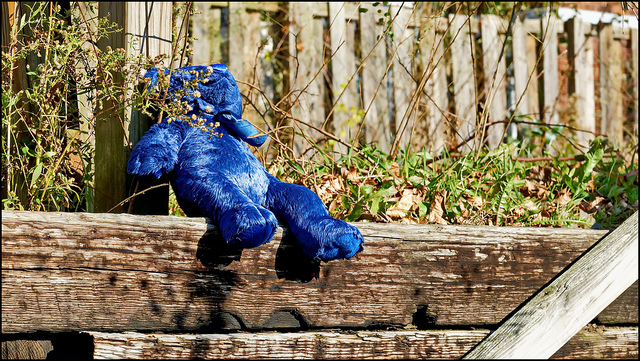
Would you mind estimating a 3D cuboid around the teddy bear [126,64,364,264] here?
[{"bbox_3d":[-0.541,0.140,8.663,1.470,0.766,1.051,39,13,25],"label":"teddy bear"}]
